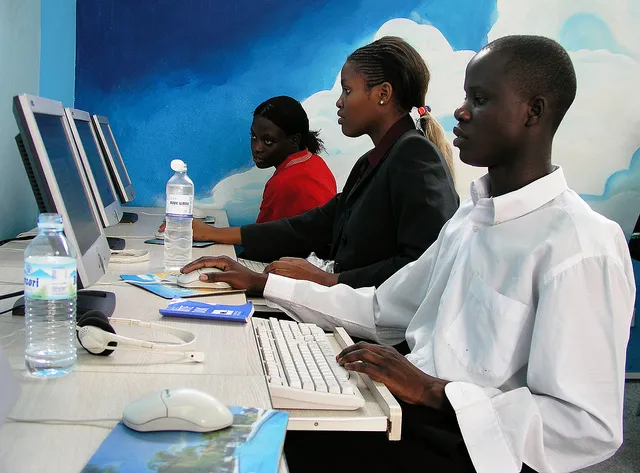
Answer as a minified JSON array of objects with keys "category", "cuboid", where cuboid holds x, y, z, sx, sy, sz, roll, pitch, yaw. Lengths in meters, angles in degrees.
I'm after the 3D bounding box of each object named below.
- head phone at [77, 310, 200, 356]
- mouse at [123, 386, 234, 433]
[{"category":"head phone","cuboid":[-0.392,0.211,0.945,0.161,0.050,0.134,9,6,-15]},{"category":"mouse","cuboid":[-0.230,0.261,0.692,0.121,0.040,0.079,4,-4,-9]}]
